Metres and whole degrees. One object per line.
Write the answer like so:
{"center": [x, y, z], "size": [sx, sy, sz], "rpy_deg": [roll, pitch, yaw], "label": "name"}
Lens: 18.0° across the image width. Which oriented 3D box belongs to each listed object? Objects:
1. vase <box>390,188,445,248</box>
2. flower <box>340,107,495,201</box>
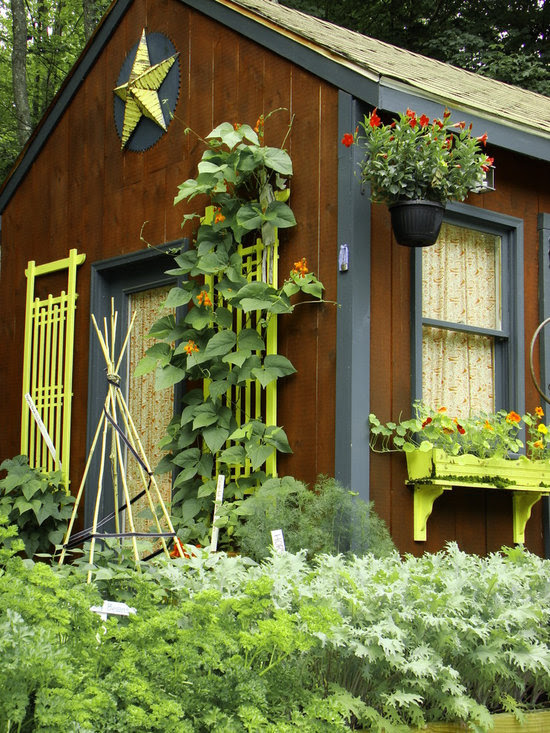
{"center": [0.664, -0.684, 7.997], "size": [0.213, 0.149, 0.209], "rpy_deg": [5, -9, -30], "label": "vase"}
{"center": [0.654, -0.941, 8.123], "size": [0.553, 0.366, 0.497], "rpy_deg": [1, -1, -8], "label": "flower"}
